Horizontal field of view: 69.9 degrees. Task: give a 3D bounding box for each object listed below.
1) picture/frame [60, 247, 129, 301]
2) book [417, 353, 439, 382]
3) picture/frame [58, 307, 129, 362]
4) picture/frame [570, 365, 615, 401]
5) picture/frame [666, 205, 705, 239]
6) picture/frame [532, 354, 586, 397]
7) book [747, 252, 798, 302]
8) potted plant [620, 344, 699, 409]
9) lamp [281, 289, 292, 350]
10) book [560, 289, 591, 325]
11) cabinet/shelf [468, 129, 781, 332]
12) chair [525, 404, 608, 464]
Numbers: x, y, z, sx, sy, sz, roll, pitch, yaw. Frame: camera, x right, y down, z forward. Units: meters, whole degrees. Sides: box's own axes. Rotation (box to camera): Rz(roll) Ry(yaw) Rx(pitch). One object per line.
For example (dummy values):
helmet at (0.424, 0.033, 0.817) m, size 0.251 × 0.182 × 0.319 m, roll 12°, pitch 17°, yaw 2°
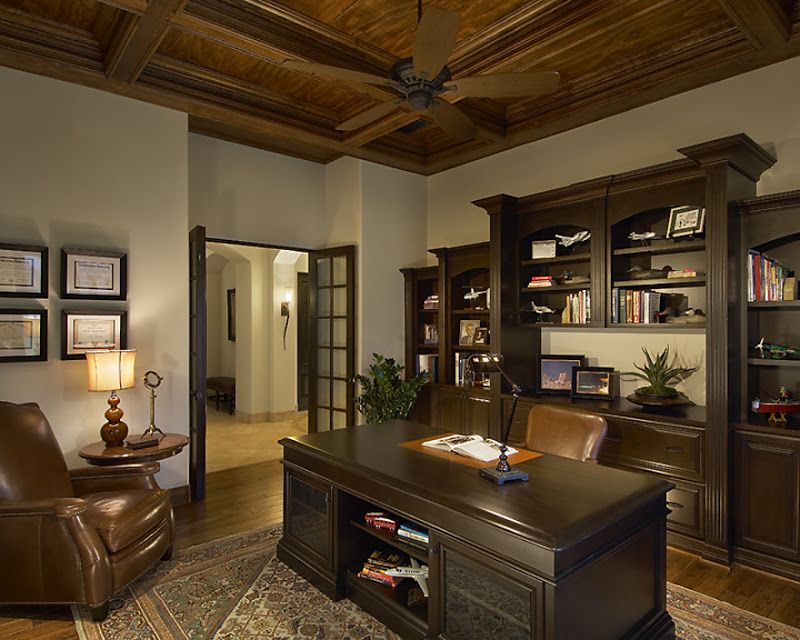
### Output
picture/frame at (-2.564, -0.381, 4.747) m, size 0.478 × 0.451 × 0.052 m, roll 0°, pitch 1°, yaw -39°
book at (0.318, 0.514, 6.396) m, size 0.347 × 0.326 × 0.251 m, roll 1°, pitch 0°, yaw -27°
picture/frame at (-2.535, 0.123, 4.674) m, size 0.460 × 0.446 × 0.030 m, roll 2°, pitch -4°, yaw -43°
picture/frame at (1.716, 0.565, 5.075) m, size 0.298 × 0.252 × 0.032 m, roll 0°, pitch -5°, yaw 33°
picture/frame at (2.244, -0.768, 4.467) m, size 0.054 × 0.287 × 0.256 m, roll 15°, pitch -13°, yaw -32°
picture/frame at (1.499, 0.517, 5.310) m, size 0.382 × 0.380 × 0.039 m, roll 1°, pitch -3°, yaw 33°
book at (2.736, -0.301, 4.206) m, size 0.381 × 0.352 × 0.209 m, roll 3°, pitch -4°, yaw -40°
potted plant at (2.136, 0.433, 4.710) m, size 0.514 × 0.420 × 0.529 m, roll -1°, pitch -1°, yaw 35°
lamp at (-1.769, 0.004, 8.818) m, size 0.116 × 0.845 × 0.271 m, roll 1°, pitch 10°, yaw 12°
book at (1.585, -0.096, 5.155) m, size 0.263 × 0.343 × 0.365 m, roll 0°, pitch -2°, yaw 36°
cabinet/shelf at (1.955, -0.732, 4.835) m, size 0.507 × 1.061 × 1.913 m, roll 7°, pitch -9°, yaw -42°
chair at (1.169, 0.753, 4.044) m, size 0.386 × 0.530 × 0.458 m, roll -1°, pitch -19°, yaw 42°
